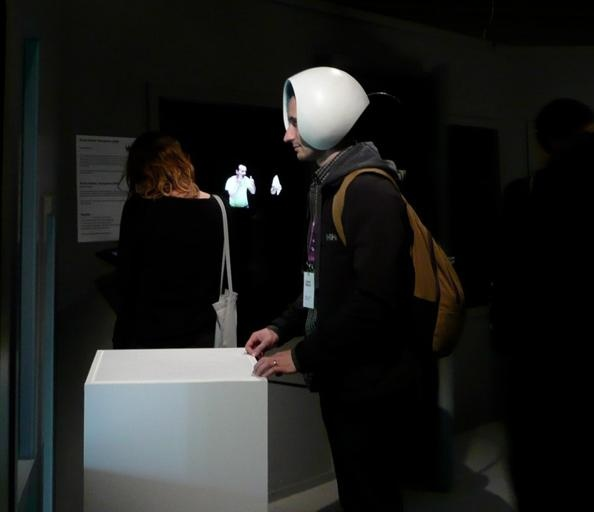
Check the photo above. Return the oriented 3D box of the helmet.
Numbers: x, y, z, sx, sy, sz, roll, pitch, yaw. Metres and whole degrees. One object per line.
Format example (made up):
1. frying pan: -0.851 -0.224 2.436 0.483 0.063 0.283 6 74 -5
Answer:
1. helmet: 0.117 -0.537 2.002 0.295 0.243 0.231 -17 35 -30

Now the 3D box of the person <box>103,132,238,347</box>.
1. person: -0.683 0.061 2.815 0.447 1.568 0.443 -2 43 -23

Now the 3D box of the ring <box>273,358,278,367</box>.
1. ring: -0.068 0.334 1.713 0.012 0.019 0.017 -1 2 -18
